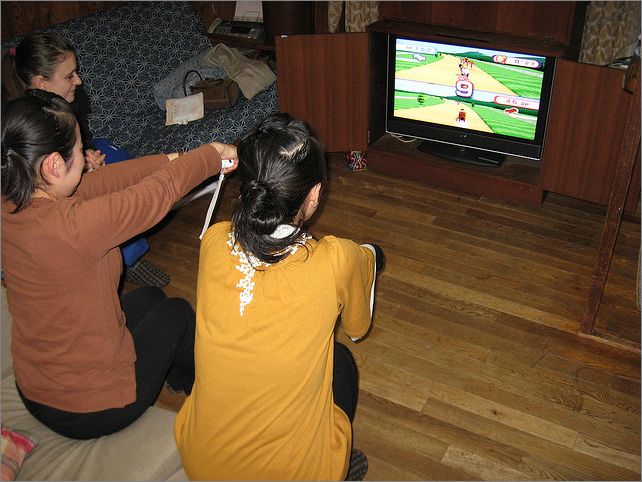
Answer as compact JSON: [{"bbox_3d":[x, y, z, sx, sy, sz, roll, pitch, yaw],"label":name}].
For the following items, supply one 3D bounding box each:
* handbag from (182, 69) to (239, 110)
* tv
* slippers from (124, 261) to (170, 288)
[{"bbox_3d":[-0.832,-1.148,3.625,0.359,0.235,0.341,3,36,6],"label":"handbag"},{"bbox_3d":[1.019,-0.931,3.106,1.021,0.681,0.265,16,49,19],"label":"tv"},{"bbox_3d":[-1.022,0.193,2.763,0.234,0.088,0.102,9,46,7],"label":"slippers"}]
